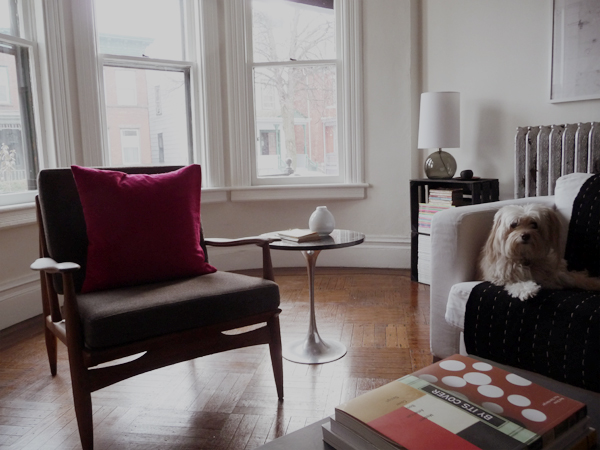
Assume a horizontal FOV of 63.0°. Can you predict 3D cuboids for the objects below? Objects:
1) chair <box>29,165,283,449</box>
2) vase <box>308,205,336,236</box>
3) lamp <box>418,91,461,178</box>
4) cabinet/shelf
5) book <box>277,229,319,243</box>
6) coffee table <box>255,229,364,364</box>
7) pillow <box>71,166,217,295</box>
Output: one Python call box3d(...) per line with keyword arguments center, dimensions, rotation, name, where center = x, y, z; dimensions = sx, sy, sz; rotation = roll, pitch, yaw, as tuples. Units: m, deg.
box3d(center=(-0.644, 0.261, 2.242), dimensions=(0.995, 1.034, 0.868), rotation=(-9, 15, -28), name="chair")
box3d(center=(0.116, -0.024, 2.582), dimensions=(0.136, 0.141, 0.143), rotation=(7, 15, 37), name="vase")
box3d(center=(1.010, -0.644, 3.567), dimensions=(0.276, 0.629, 0.280), rotation=(1, 14, 13), name="lamp")
box3d(center=(1.147, -0.058, 3.996), dimensions=(0.832, 1.071, 0.566), rotation=(1, 5, 23), name="cabinet/shelf")
box3d(center=(-0.022, 0.053, 2.480), dimensions=(0.226, 0.035, 0.152), rotation=(0, 13, 10), name="book")
box3d(center=(0.062, 0.352, 2.685), dimensions=(0.681, 0.703, 0.652), rotation=(-1, 3, 1), name="coffee table")
box3d(center=(-0.707, -0.010, 2.260), dimensions=(0.575, 0.536, 0.220), rotation=(-6, -5, -27), name="pillow")
